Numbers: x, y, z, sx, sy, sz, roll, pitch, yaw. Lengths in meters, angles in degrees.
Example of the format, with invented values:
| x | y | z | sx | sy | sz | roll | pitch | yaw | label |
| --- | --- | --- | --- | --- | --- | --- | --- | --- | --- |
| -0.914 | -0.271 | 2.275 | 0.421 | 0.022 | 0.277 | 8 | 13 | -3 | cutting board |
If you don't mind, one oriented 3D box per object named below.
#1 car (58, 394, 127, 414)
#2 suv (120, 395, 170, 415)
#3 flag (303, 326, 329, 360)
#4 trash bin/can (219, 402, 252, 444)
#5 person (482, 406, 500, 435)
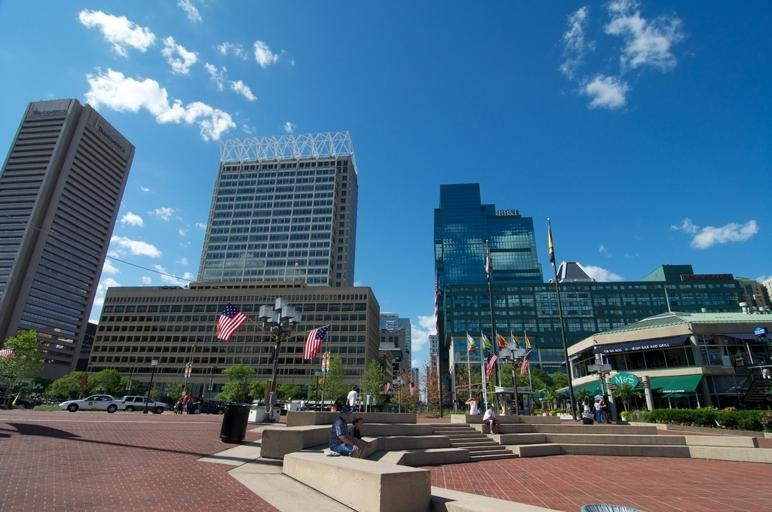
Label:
| x | y | z | sx | sy | sz | roll | pitch | yaw | label |
| --- | --- | --- | --- | --- | --- | --- | --- | --- | --- |
| -26.004 | 13.315 | 35.170 | 3.448 | 1.383 | 4.543 | 5 | -14 | -10 | car |
| -23.626 | 14.669 | 38.304 | 5.479 | 1.644 | 3.248 | -6 | -17 | 33 | suv |
| -5.160 | 6.427 | 29.035 | 1.078 | 2.358 | 3.721 | 5 | -14 | -5 | flag |
| -6.644 | 7.420 | 17.388 | 0.970 | 1.708 | 0.919 | 8 | -16 | -18 | trash bin/can |
| 6.182 | 9.771 | 23.460 | 0.861 | 1.610 | 1.092 | 5 | -15 | -6 | person |
